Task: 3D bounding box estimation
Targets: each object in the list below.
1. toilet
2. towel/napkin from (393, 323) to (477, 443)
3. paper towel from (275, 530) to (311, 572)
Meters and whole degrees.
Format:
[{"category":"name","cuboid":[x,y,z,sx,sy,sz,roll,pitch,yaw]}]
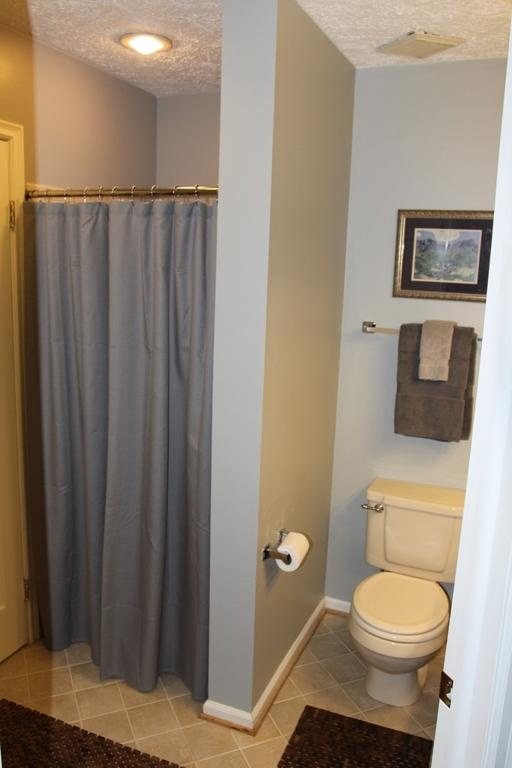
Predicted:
[{"category":"toilet","cuboid":[0.559,0.828,2.338,0.306,0.709,0.588,8,16,24]},{"category":"towel/napkin","cuboid":[0.702,-0.044,2.416,0.261,0.482,0.096,6,9,27]},{"category":"paper towel","cuboid":[0.131,0.549,2.032,0.111,0.129,0.142,3,18,19]}]
